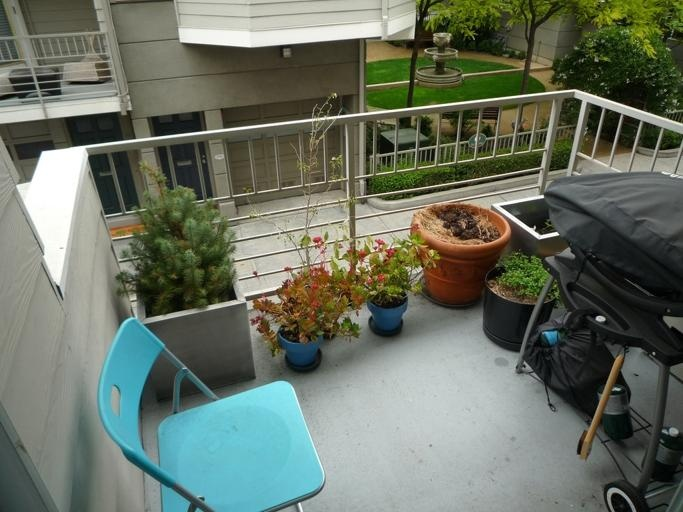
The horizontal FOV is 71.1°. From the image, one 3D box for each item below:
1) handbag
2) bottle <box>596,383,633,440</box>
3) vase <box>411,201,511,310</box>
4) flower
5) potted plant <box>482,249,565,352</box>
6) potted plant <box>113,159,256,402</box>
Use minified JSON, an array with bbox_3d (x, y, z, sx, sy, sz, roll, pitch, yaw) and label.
[{"bbox_3d":[1.333,0.612,2.743,0.500,0.552,0.314,-34,17,24],"label":"handbag"},{"bbox_3d":[1.414,0.793,2.469,0.141,0.249,0.144,-14,10,3],"label":"bottle"},{"bbox_3d":[0.850,-0.002,3.535,0.706,0.584,0.728,19,33,29],"label":"vase"},{"bbox_3d":[0.030,0.237,3.222,1.188,0.574,0.702,-28,43,-26],"label":"flower"},{"bbox_3d":[1.235,0.410,3.181,0.483,0.563,0.505,5,-9,-1],"label":"potted plant"},{"bbox_3d":[-0.885,0.162,2.892,0.730,1.124,0.748,11,36,42],"label":"potted plant"}]
